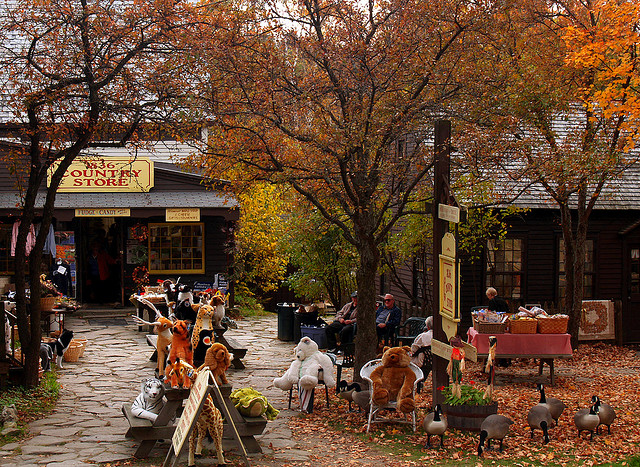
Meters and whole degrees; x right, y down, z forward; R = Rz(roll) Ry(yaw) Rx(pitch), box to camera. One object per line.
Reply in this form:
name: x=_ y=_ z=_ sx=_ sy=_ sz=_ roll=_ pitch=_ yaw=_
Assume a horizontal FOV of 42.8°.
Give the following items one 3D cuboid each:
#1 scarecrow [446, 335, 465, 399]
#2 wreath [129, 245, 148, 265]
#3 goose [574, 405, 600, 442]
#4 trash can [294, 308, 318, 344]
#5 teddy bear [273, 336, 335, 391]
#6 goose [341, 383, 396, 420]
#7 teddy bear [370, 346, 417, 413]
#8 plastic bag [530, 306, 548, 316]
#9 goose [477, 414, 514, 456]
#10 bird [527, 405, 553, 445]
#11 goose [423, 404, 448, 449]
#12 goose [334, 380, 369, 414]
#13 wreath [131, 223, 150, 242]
scarecrow: x=2.475 y=2.426 z=14.852 sx=0.301 sy=1.177 sz=0.355 roll=3 pitch=10 yaw=7
wreath: x=-5.763 y=0.684 z=25.839 sx=0.602 sy=0.581 sz=0.204 roll=-1 pitch=-5 yaw=-6
goose: x=4.793 y=3.369 z=14.648 sx=0.433 sy=0.600 sz=0.332 roll=5 pitch=10 yaw=19
trash can: x=-0.412 y=2.507 z=22.017 sx=0.849 sy=0.806 sz=0.833 roll=1 pitch=0 yaw=25
teddy bear: x=-0.373 y=2.614 z=16.297 sx=1.423 sy=1.058 sz=1.014 roll=-12 pitch=-6 yaw=22
goose: x=0.939 y=3.214 z=15.835 sx=1.002 sy=0.574 sz=0.446 roll=5 pitch=-14 yaw=-6
teddy bear: x=1.380 y=2.639 z=15.251 sx=0.925 sy=1.085 sz=1.003 roll=-7 pitch=11 yaw=-44
plastic bag: x=4.951 y=1.764 z=18.552 sx=0.211 sy=0.122 sz=0.266 roll=6 pitch=-2 yaw=-23
goose: x=3.016 y=3.472 z=14.407 sx=0.711 sy=0.559 sz=0.679 roll=9 pitch=6 yaw=5
bird: x=3.937 y=3.385 z=14.638 sx=0.415 sy=0.584 sz=0.497 roll=4 pitch=9 yaw=16
goose: x=2.034 y=3.370 z=14.410 sx=0.410 sy=0.794 sz=0.315 roll=3 pitch=9 yaw=5
goose: x=0.690 y=3.223 z=16.235 sx=0.460 sy=0.622 sz=0.877 roll=-9 pitch=-12 yaw=42
wreath: x=-5.709 y=-0.018 z=26.006 sx=0.505 sy=0.545 sz=0.168 roll=0 pitch=10 yaw=-11
